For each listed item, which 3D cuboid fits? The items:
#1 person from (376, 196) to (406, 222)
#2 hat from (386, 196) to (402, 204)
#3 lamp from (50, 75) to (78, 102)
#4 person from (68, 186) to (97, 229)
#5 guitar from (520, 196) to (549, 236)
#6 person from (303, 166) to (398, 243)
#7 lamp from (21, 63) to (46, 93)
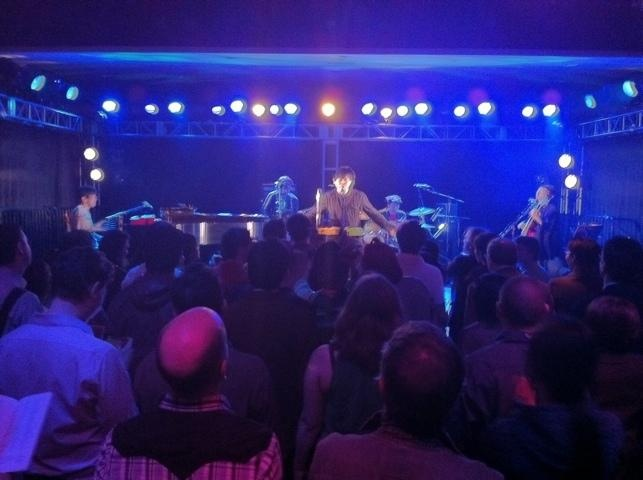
[{"bbox_3d":[1.382,-0.600,11.388,0.355,0.664,0.784,-1,4,23],"label":"person"},{"bbox_3d":[1.395,-0.763,11.065,0.273,0.110,0.299,2,-1,21],"label":"hat"},{"bbox_3d":[-4.075,-2.388,9.252,0.248,0.168,0.631,0,9,-4],"label":"lamp"},{"bbox_3d":[-4.090,-0.565,9.961,0.409,0.871,0.747,-4,12,-34],"label":"person"},{"bbox_3d":[3.950,-0.422,10.805,0.294,0.573,1.075,6,-34,24],"label":"guitar"},{"bbox_3d":[0.433,-0.609,9.202,1.410,1.178,0.463,2,11,5],"label":"person"},{"bbox_3d":[-4.186,-2.337,8.500,0.176,0.341,0.591,0,7,-2],"label":"lamp"}]
